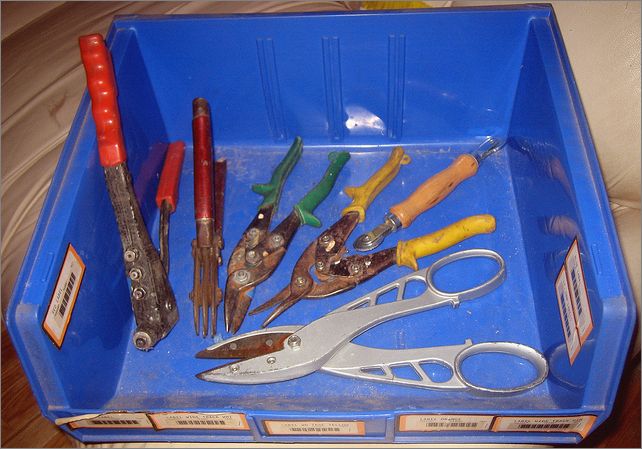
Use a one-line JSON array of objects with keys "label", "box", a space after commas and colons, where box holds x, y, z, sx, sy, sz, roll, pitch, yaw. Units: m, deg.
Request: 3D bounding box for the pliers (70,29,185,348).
[{"label": "pliers", "box": [-0.368, -0.063, 1.283, 0.177, 0.599, 0.054, 0, -4, -19]}]

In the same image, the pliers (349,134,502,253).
[{"label": "pliers", "box": [0.228, -0.057, 1.431, 0.339, 0.045, 0.049, -42, -13, -25]}]

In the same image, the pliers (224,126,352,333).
[{"label": "pliers", "box": [-0.088, -0.003, 1.380, 0.133, 0.394, 0.042, 17, -32, 13]}]
